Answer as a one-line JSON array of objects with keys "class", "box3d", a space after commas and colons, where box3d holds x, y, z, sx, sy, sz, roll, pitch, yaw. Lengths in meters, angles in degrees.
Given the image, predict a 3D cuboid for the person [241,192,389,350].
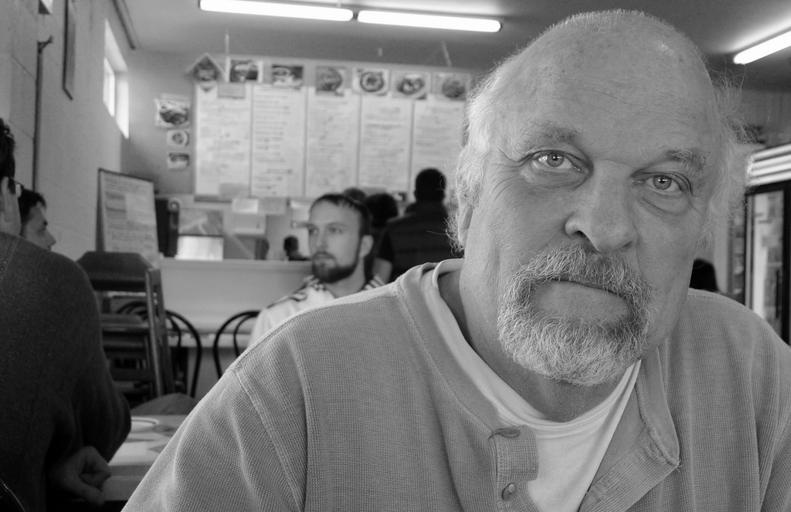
[{"class": "person", "box3d": [-0.207, 0.085, 3.144, 0.712, 0.613, 0.371, -1, -9, 25]}]
